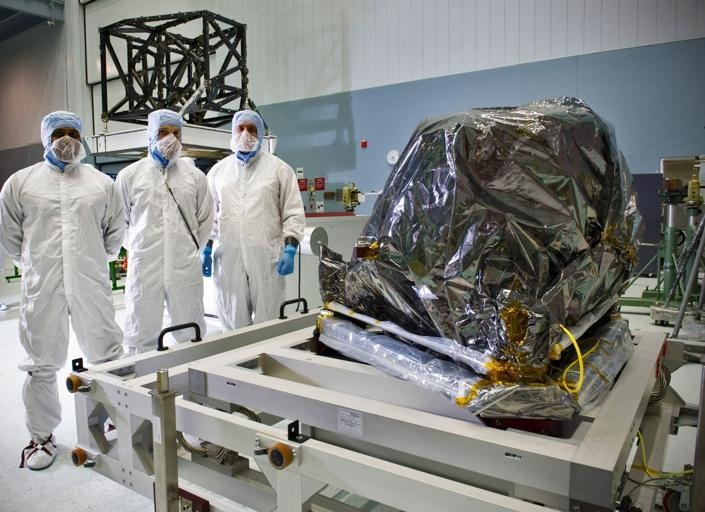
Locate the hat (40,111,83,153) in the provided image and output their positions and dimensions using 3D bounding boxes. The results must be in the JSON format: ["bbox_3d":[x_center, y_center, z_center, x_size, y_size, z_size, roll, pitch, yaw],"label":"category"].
[{"bbox_3d":[-1.512,-0.649,3.197,0.180,0.234,0.227,-5,17,-32],"label":"hat"}]

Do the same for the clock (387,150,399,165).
[{"bbox_3d":[0.475,-1.120,6.957,0.095,0.167,0.240,-2,10,-18],"label":"clock"}]

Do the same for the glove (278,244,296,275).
[{"bbox_3d":[-0.355,0.018,3.355,0.051,0.157,0.112,9,11,23],"label":"glove"}]

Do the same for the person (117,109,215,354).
[{"bbox_3d":[-1.068,-0.049,3.484,0.489,1.594,0.432,-2,22,-20],"label":"person"}]

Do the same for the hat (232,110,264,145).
[{"bbox_3d":[-0.619,-0.740,3.552,0.147,0.197,0.201,2,9,9],"label":"hat"}]
